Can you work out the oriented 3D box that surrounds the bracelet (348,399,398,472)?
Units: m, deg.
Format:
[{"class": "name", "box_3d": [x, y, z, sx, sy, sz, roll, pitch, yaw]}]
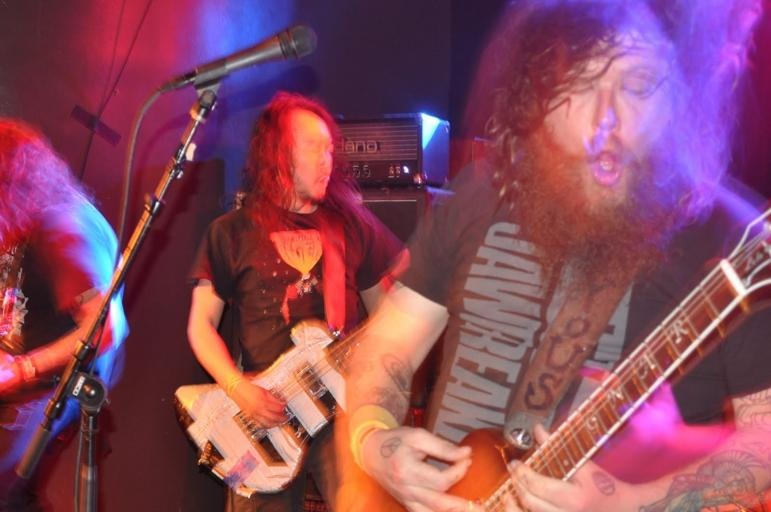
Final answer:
[{"class": "bracelet", "box_3d": [-0.088, 0.750, 2.630, 0.227, 0.232, 0.232, 8, -17, -14]}]

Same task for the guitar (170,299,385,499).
[{"class": "guitar", "box_3d": [-0.615, 0.833, 3.772, 1.339, 0.585, 0.216, -40, -1, -6]}]

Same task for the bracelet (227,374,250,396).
[{"class": "bracelet", "box_3d": [-0.918, 0.823, 3.953, 0.110, 0.109, 0.191, -3, 15, -42]}]

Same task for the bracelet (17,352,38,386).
[{"class": "bracelet", "box_3d": [-2.062, 0.654, 3.636, 0.047, 0.145, 0.104, -13, 2, 17]}]
